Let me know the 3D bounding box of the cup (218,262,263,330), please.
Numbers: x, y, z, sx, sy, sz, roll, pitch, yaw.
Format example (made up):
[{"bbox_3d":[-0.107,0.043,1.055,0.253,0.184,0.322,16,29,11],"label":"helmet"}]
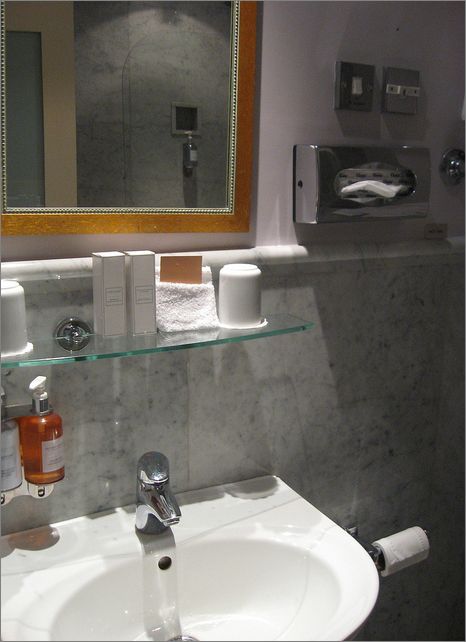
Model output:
[{"bbox_3d":[0.009,-0.044,0.896,0.089,0.095,0.076,-5,13,-29],"label":"cup"}]

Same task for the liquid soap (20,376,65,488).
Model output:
[{"bbox_3d":[-0.263,0.161,0.780,0.059,0.153,0.053,14,20,25],"label":"liquid soap"}]

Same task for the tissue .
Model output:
[{"bbox_3d":[0.270,-0.276,1.072,0.331,0.159,0.083,-6,12,-35],"label":"tissue "}]
